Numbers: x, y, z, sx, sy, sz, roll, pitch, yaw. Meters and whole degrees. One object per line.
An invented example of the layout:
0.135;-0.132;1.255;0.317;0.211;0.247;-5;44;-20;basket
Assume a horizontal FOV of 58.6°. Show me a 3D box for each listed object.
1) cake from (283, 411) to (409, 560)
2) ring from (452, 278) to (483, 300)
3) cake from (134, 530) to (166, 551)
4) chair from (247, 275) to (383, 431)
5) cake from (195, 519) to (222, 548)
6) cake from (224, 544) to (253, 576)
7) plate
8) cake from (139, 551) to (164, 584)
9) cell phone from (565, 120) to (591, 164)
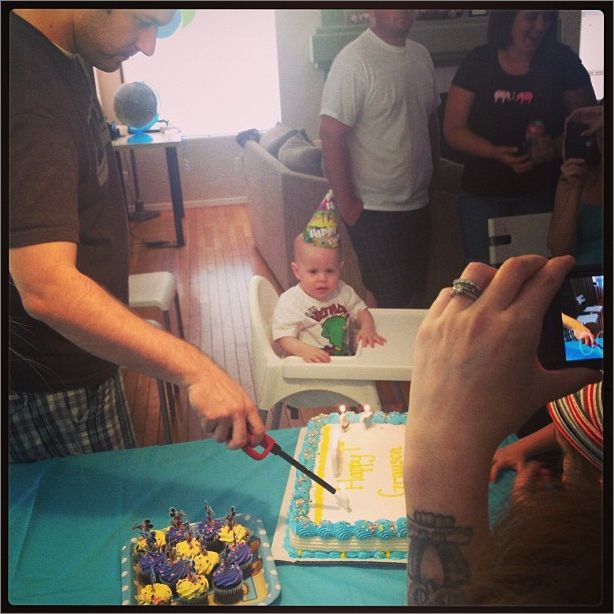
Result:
0.077;0.354;1.122;0.251;0.145;0.334;1;22;8;cake
0.283;-0.029;0.969;0.033;0.021;0.039;-26;51;-34;ring
-0.289;0.435;1.017;0.043;0.022;0.035;0;-9;-9;cake
0.035;0.037;1.349;0.275;0.431;0.292;-2;31;4;chair
-0.186;0.424;1.031;0.038;0.043;0.040;-1;-4;14;cake
-0.122;0.445;0.994;0.042;0.046;0.042;-16;18;-38;cake
-0.201;0.461;0.990;0.173;0.061;0.189;-2;24;-5;plate
-0.279;0.463;0.976;0.043;0.050;0.047;1;8;-1;cake
0.533;-0.320;1.067;0.054;0.070;0.011;-1;20;3;cell phone
